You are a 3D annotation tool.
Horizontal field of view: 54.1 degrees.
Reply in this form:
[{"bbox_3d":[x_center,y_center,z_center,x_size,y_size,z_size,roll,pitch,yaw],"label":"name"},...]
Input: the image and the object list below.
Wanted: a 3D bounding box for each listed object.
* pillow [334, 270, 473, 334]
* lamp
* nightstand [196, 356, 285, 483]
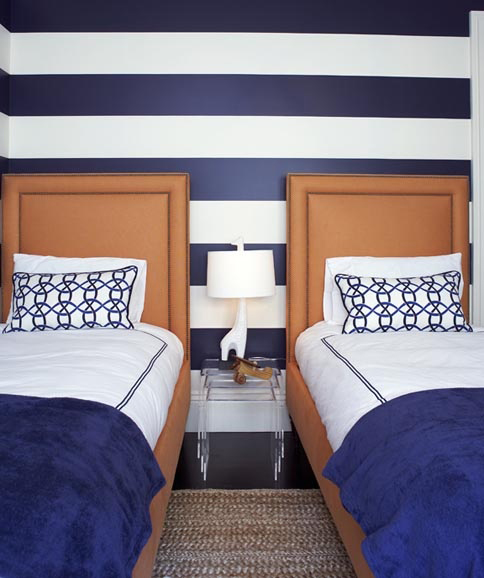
[{"bbox_3d":[0.789,0.069,2.349,0.607,0.280,0.257,0,4,2],"label":"pillow"},{"bbox_3d":[-0.007,0.066,2.571,0.357,0.668,0.322,-1,4,-4],"label":"lamp"},{"bbox_3d":[0.003,0.508,2.451,0.403,0.515,0.750,0,3,1],"label":"nightstand"}]
